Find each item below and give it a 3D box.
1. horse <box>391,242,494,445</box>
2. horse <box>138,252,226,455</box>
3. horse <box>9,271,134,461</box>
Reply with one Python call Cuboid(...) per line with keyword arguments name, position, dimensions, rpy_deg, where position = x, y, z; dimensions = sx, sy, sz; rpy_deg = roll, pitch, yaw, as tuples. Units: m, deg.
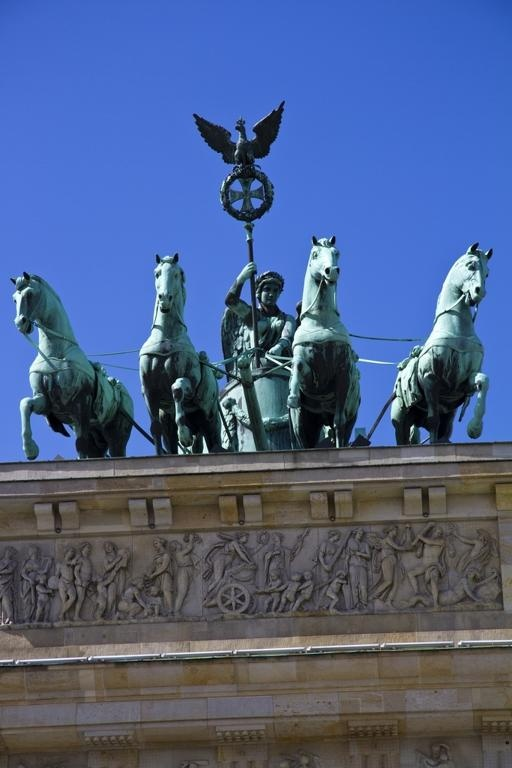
Cuboid(name="horse", position=(2.270, -0.092, 35.207), dimensions=(0.672, 2.319, 2.457), rpy_deg=(6, -16, -21))
Cuboid(name="horse", position=(-1.012, -0.203, 35.545), dimensions=(0.826, 2.449, 1.681), rpy_deg=(-7, -8, 10))
Cuboid(name="horse", position=(-2.243, 0.210, 35.529), dimensions=(0.787, 2.549, 2.382), rpy_deg=(-9, -18, 31))
